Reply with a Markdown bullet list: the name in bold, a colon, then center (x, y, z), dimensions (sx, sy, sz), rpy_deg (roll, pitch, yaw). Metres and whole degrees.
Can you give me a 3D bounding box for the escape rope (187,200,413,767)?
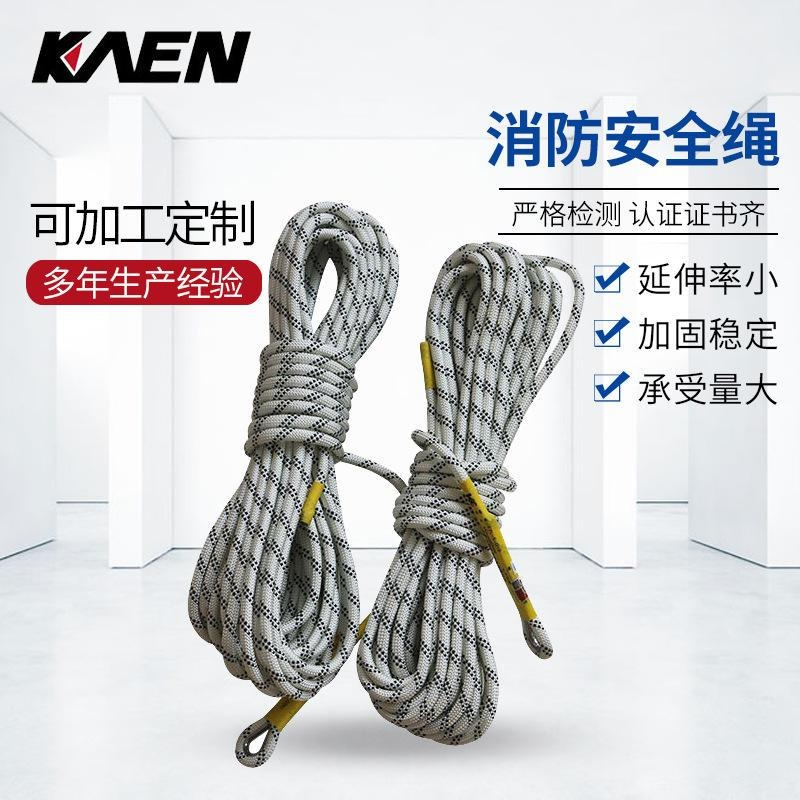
- **escape rope**: center (-0.139, 0.088, 1.230), dimensions (0.265, 0.837, 0.142), rpy_deg (4, -9, 3)
